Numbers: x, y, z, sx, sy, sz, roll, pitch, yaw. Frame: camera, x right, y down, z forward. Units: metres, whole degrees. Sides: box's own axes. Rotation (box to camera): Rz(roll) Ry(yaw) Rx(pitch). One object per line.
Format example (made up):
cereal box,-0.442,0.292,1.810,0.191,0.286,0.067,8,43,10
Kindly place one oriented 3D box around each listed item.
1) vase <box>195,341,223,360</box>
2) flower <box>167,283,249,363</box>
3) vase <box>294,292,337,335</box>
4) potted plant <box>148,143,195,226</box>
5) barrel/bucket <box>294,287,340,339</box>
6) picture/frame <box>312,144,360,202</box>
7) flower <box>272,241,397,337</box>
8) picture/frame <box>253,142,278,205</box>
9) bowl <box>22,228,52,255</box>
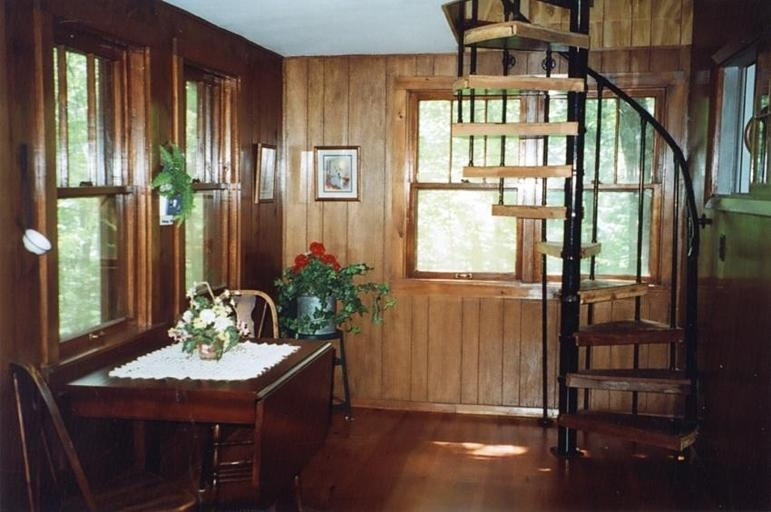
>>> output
vase,-0.994,0.538,3.739,0.117,0.077,0.114,-1,1,16
flower,-1.013,0.398,3.871,0.388,0.413,0.436,-1,-7,10
vase,-0.513,0.434,5.060,0.322,0.315,0.313,-2,-2,-27
potted plant,-1.329,-0.458,4.193,0.184,0.508,0.478,0,12,-1
barrel/bucket,-0.515,0.443,4.930,0.319,0.321,0.323,-1,2,0
picture/frame,-0.399,-0.696,5.541,0.415,0.442,0.016,-4,7,-30
flower,-0.610,0.282,5.249,0.775,0.624,0.992,-5,-2,1
picture/frame,-0.941,-0.659,5.298,0.036,0.476,0.584,3,7,-22
bowl,-1.724,-0.062,3.252,0.119,0.147,0.155,-6,14,-28
